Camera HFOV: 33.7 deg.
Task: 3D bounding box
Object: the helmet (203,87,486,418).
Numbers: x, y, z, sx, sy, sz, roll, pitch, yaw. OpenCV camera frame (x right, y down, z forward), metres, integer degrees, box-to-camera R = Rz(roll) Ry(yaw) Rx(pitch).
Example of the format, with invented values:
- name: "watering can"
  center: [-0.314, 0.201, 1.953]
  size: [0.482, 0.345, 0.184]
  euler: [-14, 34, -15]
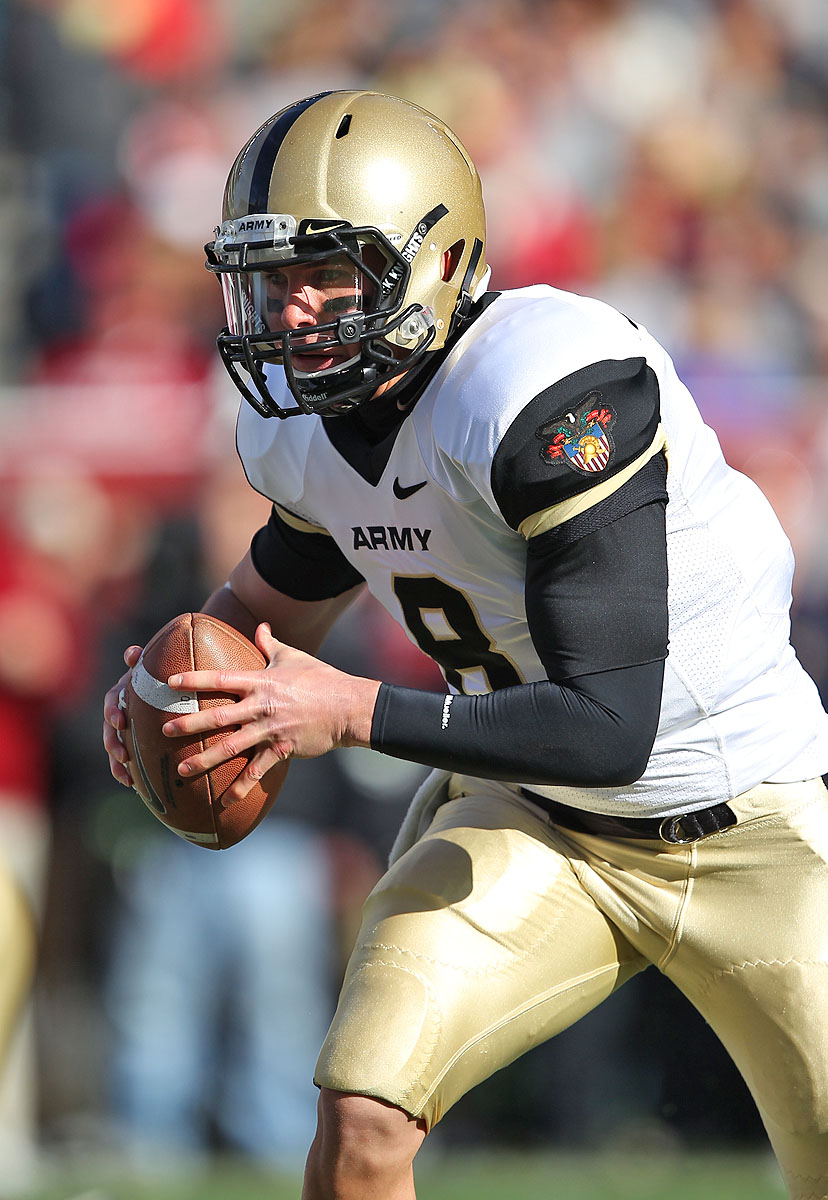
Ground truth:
- name: "helmet"
  center: [-0.067, -0.427, 1.648]
  size: [0.312, 0.330, 0.383]
  euler: [10, 29, 40]
